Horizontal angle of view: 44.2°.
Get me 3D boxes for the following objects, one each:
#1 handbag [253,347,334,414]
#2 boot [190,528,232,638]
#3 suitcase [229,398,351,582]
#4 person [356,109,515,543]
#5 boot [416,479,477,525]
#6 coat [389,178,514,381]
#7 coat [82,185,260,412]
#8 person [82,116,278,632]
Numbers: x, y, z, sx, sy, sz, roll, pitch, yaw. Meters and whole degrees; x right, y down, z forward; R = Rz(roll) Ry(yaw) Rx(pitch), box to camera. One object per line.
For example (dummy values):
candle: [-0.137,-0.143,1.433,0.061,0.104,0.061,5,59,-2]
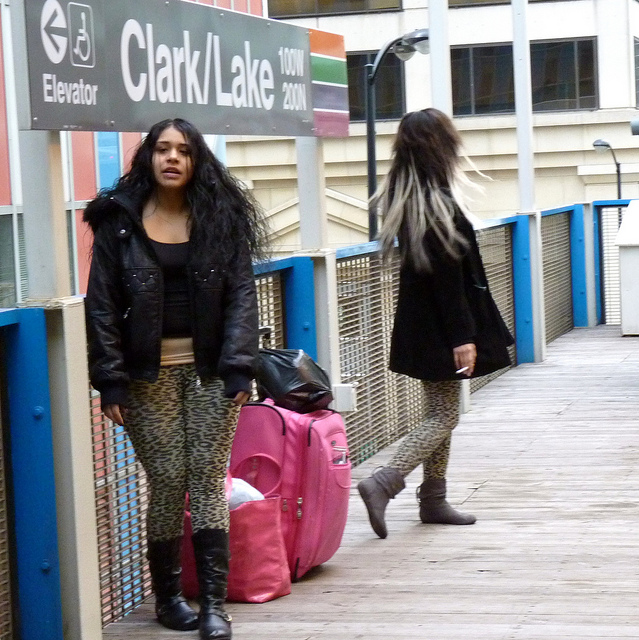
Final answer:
handbag: [-0.111,0.208,3.283,0.165,0.195,0.114,-19,-22,-38]
boot: [-0.357,0.862,2.579,0.117,0.356,0.107,-3,4,-9]
suitcase: [-0.160,0.722,3.357,0.545,0.668,0.561,-6,-13,44]
person: [0.576,0.001,4.054,0.774,2.152,1.200,-2,4,10]
boot: [0.657,0.947,4.074,0.372,0.230,0.127,-4,-13,41]
coat: [0.615,-0.189,3.776,0.608,0.966,0.315,-2,4,3]
coat: [-0.457,-0.087,2.449,0.525,0.684,0.250,-3,4,-12]
person: [-0.448,0.224,2.572,0.542,1.747,0.504,-3,4,-4]
